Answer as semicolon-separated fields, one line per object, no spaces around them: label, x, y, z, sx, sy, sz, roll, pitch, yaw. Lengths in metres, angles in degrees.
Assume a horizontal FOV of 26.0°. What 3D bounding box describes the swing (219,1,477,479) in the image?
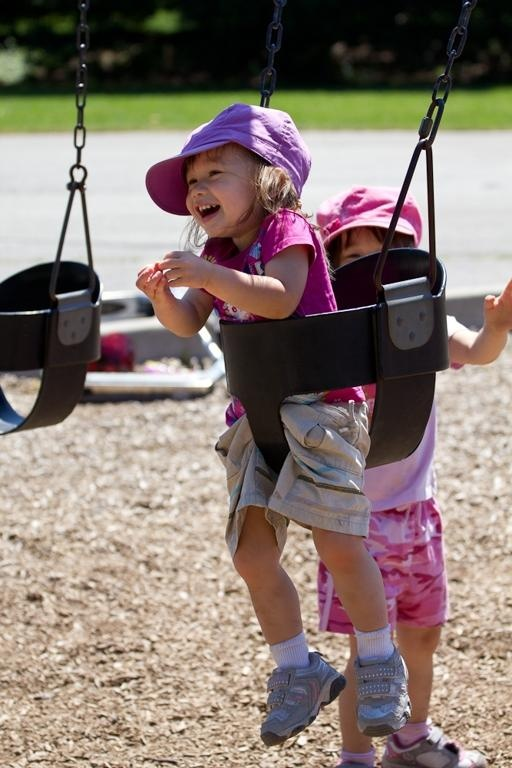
swing;0.171;-0.257;2.039;0.411;0.910;0.465;5;15;9

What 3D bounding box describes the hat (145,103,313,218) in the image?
hat;-0.040;-0.419;2.061;0.304;0.136;0.215;3;-24;-2

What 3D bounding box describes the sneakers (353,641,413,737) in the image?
sneakers;0.223;0.545;1.934;0.088;0.139;0.086;2;15;0

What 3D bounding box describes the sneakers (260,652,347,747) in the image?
sneakers;0.063;0.559;1.970;0.120;0.127;0.174;12;17;34
